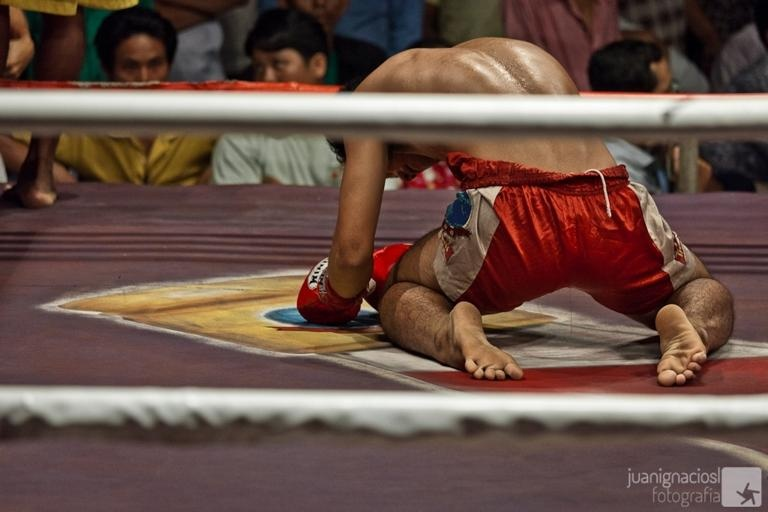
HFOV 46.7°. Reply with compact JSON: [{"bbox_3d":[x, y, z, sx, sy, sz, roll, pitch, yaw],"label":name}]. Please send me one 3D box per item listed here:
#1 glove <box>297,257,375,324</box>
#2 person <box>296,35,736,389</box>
[{"bbox_3d":[-0.176,0.118,2.636,0.198,0.089,0.225,-13,-4,-7],"label":"glove"},{"bbox_3d":[0.402,-0.181,2.697,1.114,0.771,1.686,-4,22,-21],"label":"person"}]
